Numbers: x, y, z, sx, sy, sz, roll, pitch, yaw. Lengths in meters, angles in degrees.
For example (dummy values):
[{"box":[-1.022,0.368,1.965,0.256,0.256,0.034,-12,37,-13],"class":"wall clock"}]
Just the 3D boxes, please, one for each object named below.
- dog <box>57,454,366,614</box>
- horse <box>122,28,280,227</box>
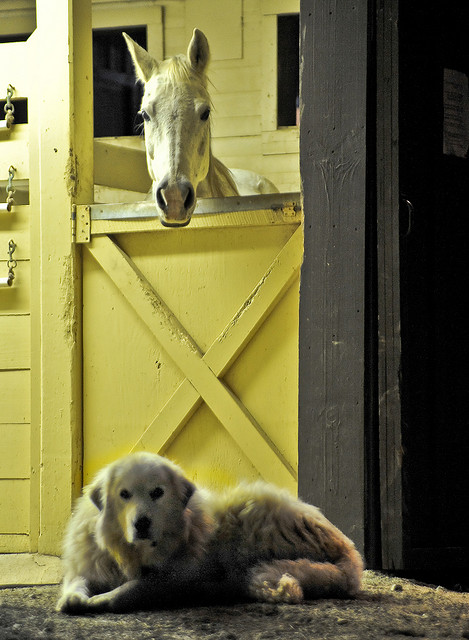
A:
[{"box":[-0.054,0.640,3.264,0.626,0.360,0.472,16,-29,-41],"class":"dog"},{"box":[-0.235,-0.784,4.544,0.370,0.744,0.891,-2,11,1],"class":"horse"}]
